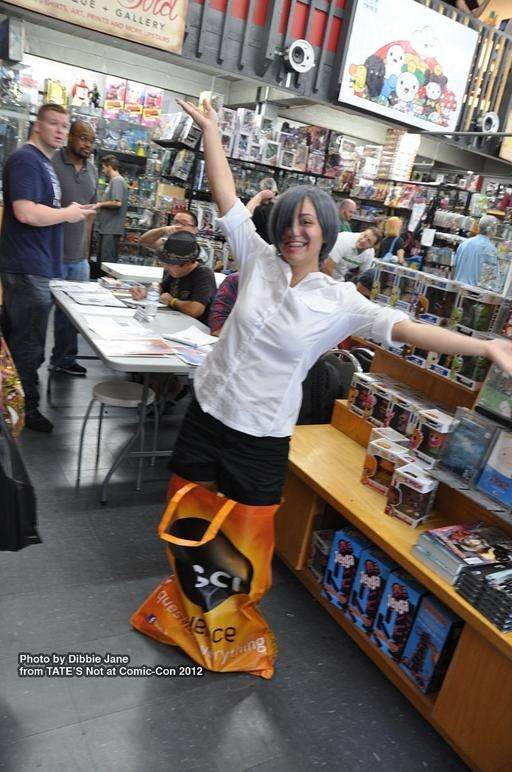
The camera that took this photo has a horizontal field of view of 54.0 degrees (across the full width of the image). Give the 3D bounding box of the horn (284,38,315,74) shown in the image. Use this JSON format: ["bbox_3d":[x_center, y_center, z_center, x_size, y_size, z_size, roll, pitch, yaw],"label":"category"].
[{"bbox_3d":[0.262,-2.017,3.083,0.088,0.161,0.198,30,27,35],"label":"horn"}]

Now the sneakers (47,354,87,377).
[{"bbox_3d":[-1.626,-0.169,4.267,0.347,0.152,0.135,12,24,-16],"label":"sneakers"}]

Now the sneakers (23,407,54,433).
[{"bbox_3d":[-1.426,0.215,3.322,0.193,0.174,0.116,6,16,-9],"label":"sneakers"}]

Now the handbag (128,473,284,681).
[{"bbox_3d":[-0.164,0.670,1.688,0.563,0.538,0.302,19,29,23],"label":"handbag"}]

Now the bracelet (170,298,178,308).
[{"bbox_3d":[-0.593,-0.596,3.591,0.036,0.065,0.051,2,2,2],"label":"bracelet"}]

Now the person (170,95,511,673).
[{"bbox_3d":[0.017,0.110,1.523,1.018,1.689,0.278,23,24,22],"label":"person"}]
